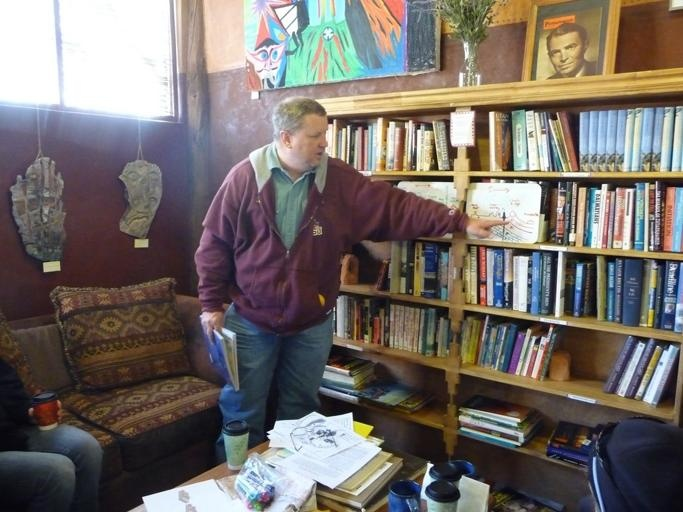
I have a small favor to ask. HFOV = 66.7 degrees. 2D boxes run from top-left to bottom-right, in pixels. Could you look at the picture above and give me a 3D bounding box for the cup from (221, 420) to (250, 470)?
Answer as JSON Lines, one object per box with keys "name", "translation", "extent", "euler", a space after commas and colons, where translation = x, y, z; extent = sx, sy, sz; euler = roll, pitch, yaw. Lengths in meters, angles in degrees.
{"name": "cup", "translation": [-0.404, 0.720, 1.993], "extent": [0.100, 0.145, 0.102], "euler": [-4, 2, 0]}
